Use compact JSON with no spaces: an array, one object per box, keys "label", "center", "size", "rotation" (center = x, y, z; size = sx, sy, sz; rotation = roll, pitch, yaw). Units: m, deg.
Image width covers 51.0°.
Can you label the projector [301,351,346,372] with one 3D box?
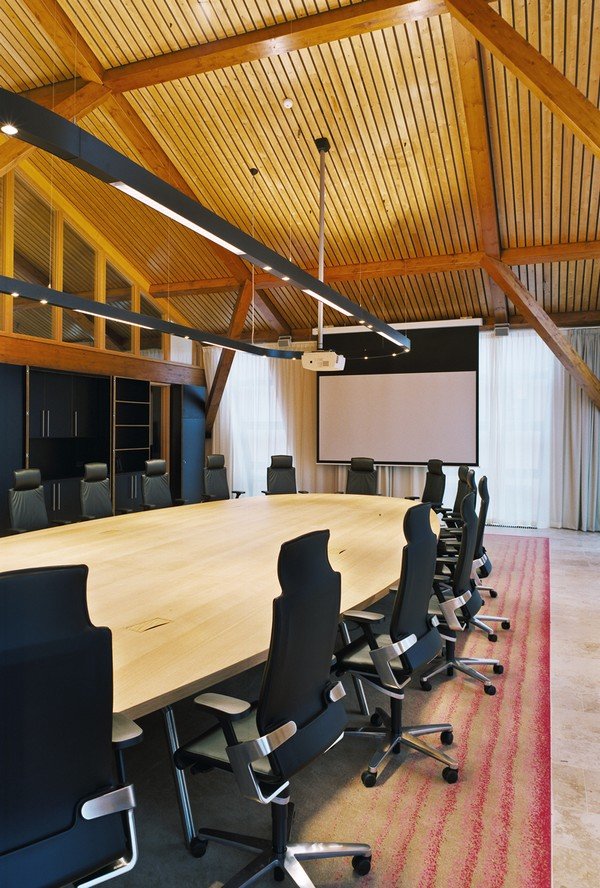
[{"label":"projector","center":[0.166,-0.724,5.547],"size":[0.290,0.121,0.319],"rotation":[1,4,23]}]

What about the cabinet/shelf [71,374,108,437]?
[{"label":"cabinet/shelf","center":[-2.738,-0.509,8.097],"size":[0.250,0.694,0.758],"rotation":[1,-1,18]}]

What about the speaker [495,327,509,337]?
[{"label":"speaker","center":[2.813,-1.552,8.747],"size":[0.193,0.107,0.326],"rotation":[1,2,20]}]
